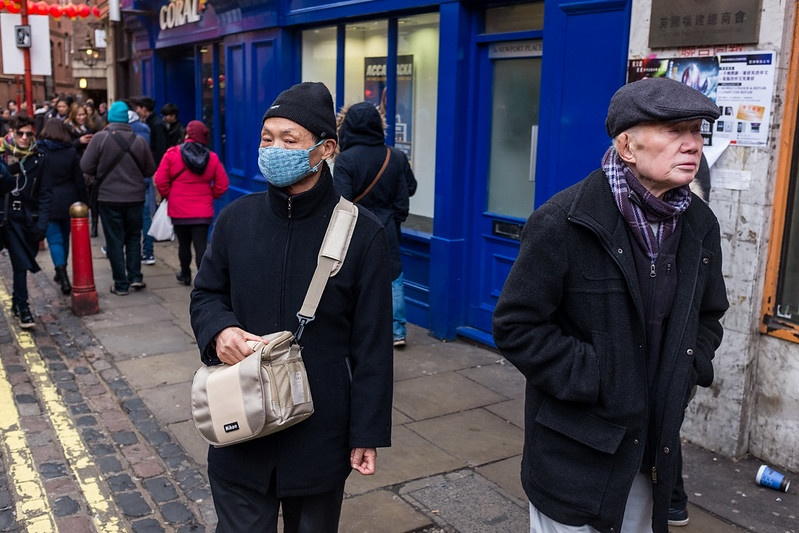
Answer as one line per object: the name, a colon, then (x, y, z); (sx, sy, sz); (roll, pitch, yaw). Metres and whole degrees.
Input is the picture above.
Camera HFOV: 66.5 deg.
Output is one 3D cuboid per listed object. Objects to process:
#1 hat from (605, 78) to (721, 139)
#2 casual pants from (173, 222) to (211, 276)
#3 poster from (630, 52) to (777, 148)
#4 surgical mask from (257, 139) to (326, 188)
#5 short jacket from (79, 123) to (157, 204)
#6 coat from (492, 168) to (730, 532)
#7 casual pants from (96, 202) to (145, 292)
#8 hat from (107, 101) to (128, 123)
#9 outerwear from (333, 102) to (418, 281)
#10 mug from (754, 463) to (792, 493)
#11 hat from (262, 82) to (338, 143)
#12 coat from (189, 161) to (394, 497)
hat: (1.065, -0.668, 2.512); (0.326, 0.152, 0.258); (-11, 10, 37)
casual pants: (-2.742, -0.266, 8.031); (0.507, 0.398, 1.532); (14, -13, -19)
poster: (1.893, -0.995, 3.642); (1.044, 0.654, 0.017); (16, 17, 43)
surgical mask: (-0.506, -0.454, 2.696); (0.190, 0.121, 0.196); (8, 26, 19)
short jacket: (-4.017, -1.524, 8.760); (0.642, 1.111, 0.991); (10, 10, 42)
coat: (0.897, 0.339, 2.637); (0.978, 1.478, 0.585); (1, 13, 6)
casual pants: (-3.947, -0.409, 8.772); (0.539, 1.442, 0.419); (-10, 28, -40)
hat: (-4.079, -2.234, 8.861); (0.249, 0.279, 0.344); (7, 2, 0)
outerwear: (-0.230, -0.711, 6.785); (0.872, 1.994, 0.673); (5, 29, 6)
mug: (2.635, 1.495, 4.306); (0.192, 0.174, 0.181); (13, 57, 18)
hat: (-0.457, -0.696, 2.863); (0.305, 0.288, 0.256); (-3, 8, -43)
coat: (-0.484, 0.289, 2.886); (1.024, 1.374, 0.682); (3, 9, 7)
